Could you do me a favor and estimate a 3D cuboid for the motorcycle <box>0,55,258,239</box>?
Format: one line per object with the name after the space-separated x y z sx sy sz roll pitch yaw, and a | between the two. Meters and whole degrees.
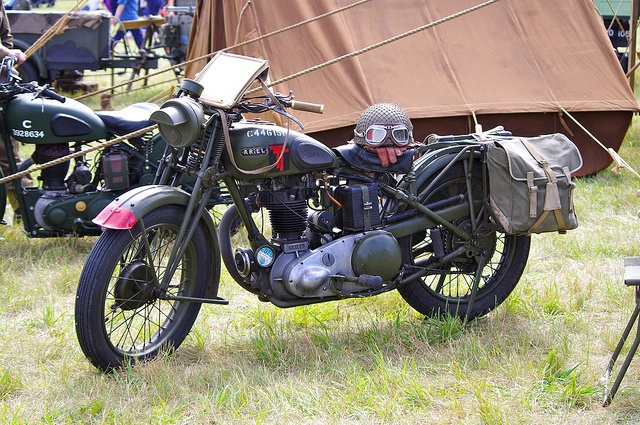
-2.109 -0.641 7.880 2.226 1.533 1.328 -2 7 -13 | motorcycle

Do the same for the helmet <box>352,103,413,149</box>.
0.519 -0.690 5.904 0.346 0.259 0.383 0 7 -3 | helmet

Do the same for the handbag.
1.764 -0.238 6.105 0.885 1.038 0.498 -4 2 -26 | handbag
